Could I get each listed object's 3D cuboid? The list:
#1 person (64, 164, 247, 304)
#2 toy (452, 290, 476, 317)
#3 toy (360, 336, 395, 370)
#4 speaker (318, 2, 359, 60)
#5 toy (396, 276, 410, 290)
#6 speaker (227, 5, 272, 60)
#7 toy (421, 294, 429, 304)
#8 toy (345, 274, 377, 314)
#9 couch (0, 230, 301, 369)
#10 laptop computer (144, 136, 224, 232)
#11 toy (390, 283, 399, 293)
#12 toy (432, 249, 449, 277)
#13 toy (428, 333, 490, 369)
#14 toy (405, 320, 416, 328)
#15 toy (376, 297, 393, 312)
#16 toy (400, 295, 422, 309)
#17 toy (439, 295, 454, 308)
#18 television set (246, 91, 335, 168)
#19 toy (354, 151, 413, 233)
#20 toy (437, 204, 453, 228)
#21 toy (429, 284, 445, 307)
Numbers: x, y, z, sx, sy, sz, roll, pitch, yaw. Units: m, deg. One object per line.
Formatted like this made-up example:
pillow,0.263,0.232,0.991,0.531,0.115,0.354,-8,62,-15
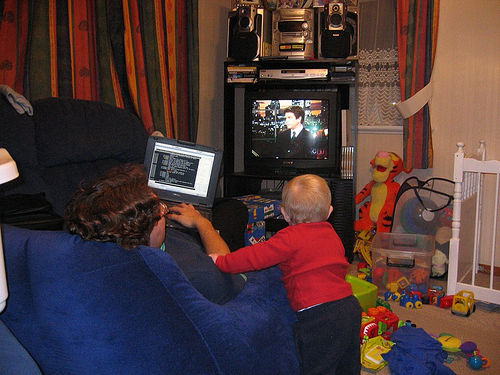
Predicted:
person,-0.313,0.157,1.493,0.269,0.311,0.752,14,-10,37
toy,1.340,0.759,2.753,0.105,0.137,0.161,3,-11,34
toy,0.654,0.856,2.224,0.185,0.114,0.183,3,8,9
speaker,0.669,-1.169,3.274,0.289,0.442,0.135,2,9,4
toy,1.049,0.649,2.954,0.088,0.073,0.032,0,7,-13
speaker,0.010,-1.217,3.557,0.340,0.526,0.414,3,7,25
toy,1.153,0.734,2.851,0.045,0.048,0.043,-2,3,-37
toy,0.663,0.642,2.520,0.198,0.199,0.273,2,8,6
couch,-0.280,0.327,1.221,0.535,0.221,0.538,8,-10,-35
laptop computer,-0.379,-0.030,2.273,0.448,0.328,0.432,14,19,-1
toy,0.982,0.680,2.952,0.066,0.071,0.052,0,-2,2
toy,1.440,0.579,3.272,0.168,0.210,0.069,-2,8,-25
toy,1.115,0.850,2.270,0.179,0.049,0.119,14,40,40
toy,0.920,0.784,2.488,0.041,0.046,0.078,-14,-28,38
toy,0.835,0.719,2.689,0.066,0.031,0.078,6,11,-36
toy,1.053,0.742,2.817,0.084,0.041,0.089,-1,9,7
toy,1.279,0.744,2.812,0.104,0.070,0.041,-1,8,-18
television set,0.363,-0.411,3.686,0.798,0.724,0.468,1,-5,17
toy,1.086,0.029,3.632,0.390,0.666,0.399,5,8,29
toy,1.447,0.212,3.210,0.056,0.169,0.135,9,-10,-40
toy,1.232,0.719,2.884,0.116,0.039,0.093,3,15,18
